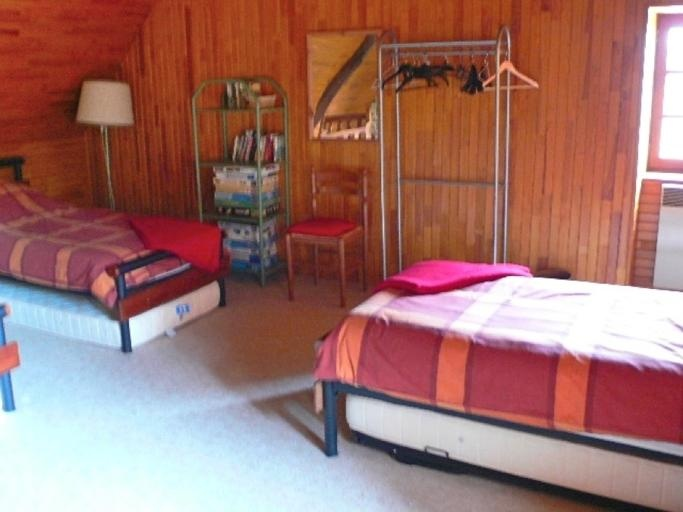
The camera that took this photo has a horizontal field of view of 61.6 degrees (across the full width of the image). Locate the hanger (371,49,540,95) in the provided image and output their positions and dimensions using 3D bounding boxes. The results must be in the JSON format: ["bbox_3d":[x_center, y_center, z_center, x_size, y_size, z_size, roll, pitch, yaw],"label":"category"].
[{"bbox_3d":[0.808,-1.308,4.210,1.197,0.254,0.647,7,19,24],"label":"hanger"}]

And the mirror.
[{"bbox_3d":[0.037,-1.435,4.695,0.857,1.114,0.120,2,8,24],"label":"mirror"}]

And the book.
[{"bbox_3d":[-0.832,-1.221,5.056,0.615,0.710,0.266,7,12,33],"label":"book"}]
